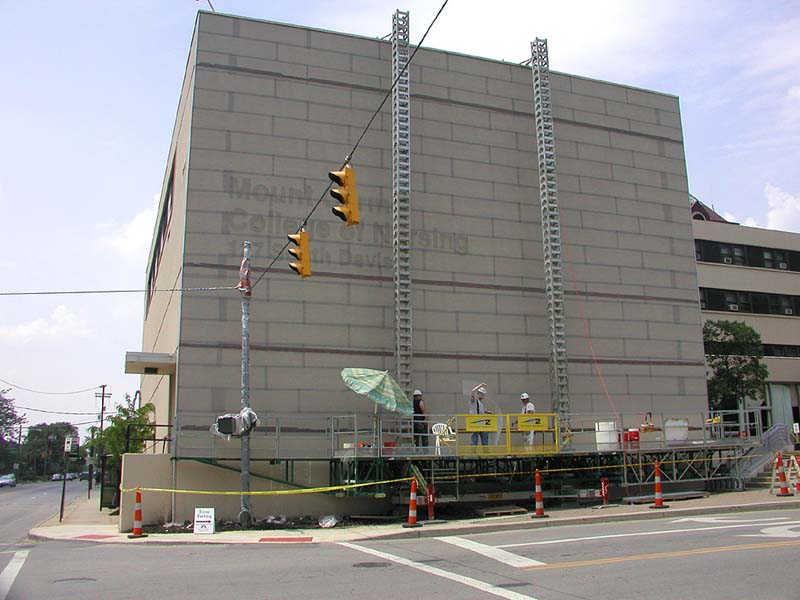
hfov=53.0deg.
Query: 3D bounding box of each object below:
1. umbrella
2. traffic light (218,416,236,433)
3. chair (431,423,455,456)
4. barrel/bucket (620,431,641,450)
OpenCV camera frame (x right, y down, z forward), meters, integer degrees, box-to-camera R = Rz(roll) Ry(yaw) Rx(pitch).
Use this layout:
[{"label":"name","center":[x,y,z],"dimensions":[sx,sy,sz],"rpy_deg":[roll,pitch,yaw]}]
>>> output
[{"label":"umbrella","center":[-0.711,2.842,24.882],"dimensions":[2.055,1.489,1.032],"rpy_deg":[-2,-8,-5]},{"label":"traffic light","center":[-4.682,3.346,21.546],"dimensions":[0.502,0.492,0.367],"rpy_deg":[-1,-8,-13]},{"label":"chair","center":[1.382,4.305,25.083],"dimensions":[0.667,0.950,1.808],"rpy_deg":[-3,-8,2]},{"label":"barrel/bucket","center":[8.022,4.868,27.992],"dimensions":[0.690,0.868,0.929],"rpy_deg":[-5,-10,31]}]
